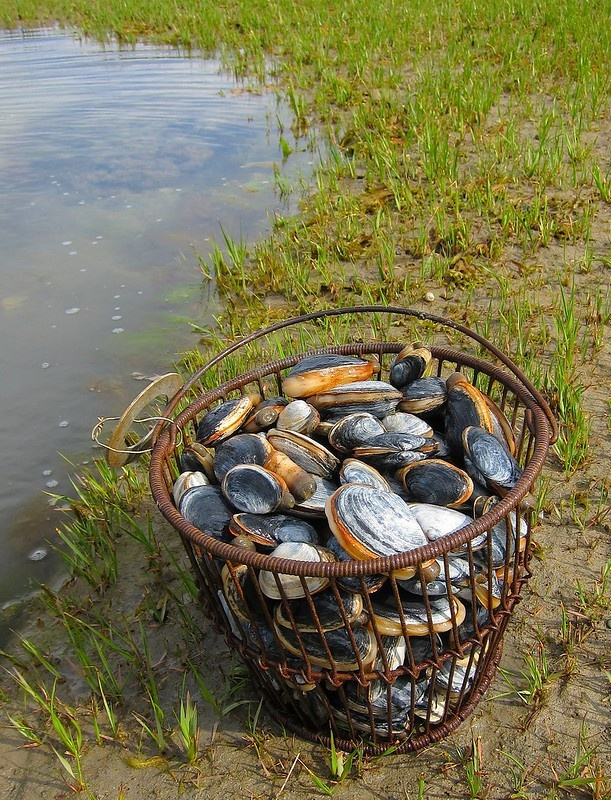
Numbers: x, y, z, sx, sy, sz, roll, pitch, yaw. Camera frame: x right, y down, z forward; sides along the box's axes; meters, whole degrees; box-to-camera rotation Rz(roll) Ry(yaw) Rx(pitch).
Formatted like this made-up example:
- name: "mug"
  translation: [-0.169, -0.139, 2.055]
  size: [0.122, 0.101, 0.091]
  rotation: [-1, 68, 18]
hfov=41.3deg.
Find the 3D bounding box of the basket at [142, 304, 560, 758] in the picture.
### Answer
- name: "basket"
  translation: [0.191, 0.586, 2.575]
  size: [0.966, 0.726, 0.952]
  rotation: [-14, 11, -18]
